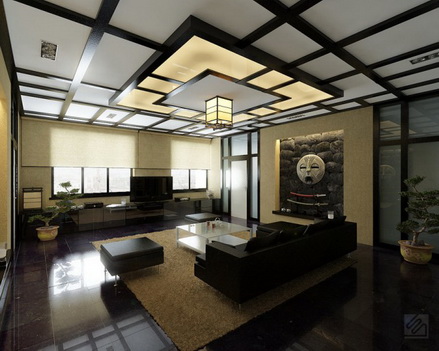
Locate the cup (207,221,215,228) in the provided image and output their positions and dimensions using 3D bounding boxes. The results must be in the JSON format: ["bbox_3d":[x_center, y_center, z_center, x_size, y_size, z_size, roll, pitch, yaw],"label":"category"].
[{"bbox_3d":[-0.188,1.095,6.598,0.111,0.140,0.198,-1,0,-42],"label":"cup"}]

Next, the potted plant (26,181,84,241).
[{"bbox_3d":[-4.092,0.788,7.497,1.305,1.638,1.426,3,1,40],"label":"potted plant"}]

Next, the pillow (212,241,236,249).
[{"bbox_3d":[0.110,1.091,4.701,0.258,0.059,0.255,4,-3,-44],"label":"pillow"}]

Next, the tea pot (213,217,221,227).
[{"bbox_3d":[-0.050,1.095,6.891,0.132,0.230,0.146,0,-2,26],"label":"tea pot"}]
